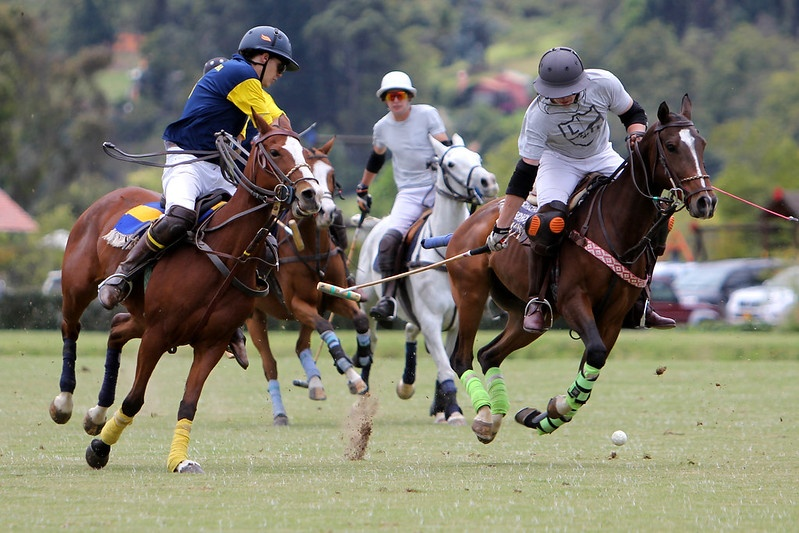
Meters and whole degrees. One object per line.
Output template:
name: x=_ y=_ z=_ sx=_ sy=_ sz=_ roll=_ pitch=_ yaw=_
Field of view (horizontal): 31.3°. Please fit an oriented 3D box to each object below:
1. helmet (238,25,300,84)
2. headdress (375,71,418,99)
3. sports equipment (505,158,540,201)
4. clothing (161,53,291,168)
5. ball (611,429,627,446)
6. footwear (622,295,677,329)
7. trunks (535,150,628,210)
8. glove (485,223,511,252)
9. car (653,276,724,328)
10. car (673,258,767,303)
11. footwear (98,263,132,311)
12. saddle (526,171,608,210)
helmet: x=-1.801 y=-3.121 z=19.958 sx=0.887 sy=0.453 sz=0.704 roll=12 pitch=-2 yaw=6
headdress: x=-0.048 y=-2.866 z=22.641 sx=0.596 sy=0.461 sz=0.692 roll=4 pitch=8 yaw=-2
sports equipment: x=1.734 y=-1.214 z=20.099 sx=0.584 sy=0.500 sz=0.188 roll=15 pitch=4 yaw=-4
clothing: x=-2.328 y=-2.237 z=19.898 sx=1.923 sy=1.483 sz=1.186 roll=-1 pitch=7 yaw=-5
ball: x=3.047 y=2.435 z=19.947 sx=0.232 sy=0.218 sz=0.231 roll=8 pitch=6 yaw=-1
footwear: x=3.456 y=0.718 z=20.075 sx=0.980 sy=0.606 sz=0.331 roll=-1 pitch=-1 yaw=0
trunks: x=2.412 y=-1.241 z=19.911 sx=0.955 sy=0.295 sz=0.929 roll=-37 pitch=53 yaw=-12
glove: x=1.379 y=-0.378 z=20.023 sx=0.396 sy=0.173 sz=0.287 roll=-30 pitch=-19 yaw=29
car: x=7.238 y=1.007 z=37.016 sx=2.617 sy=1.382 sz=1.454 roll=0 pitch=2 yaw=-2
car: x=9.617 y=0.418 z=41.289 sx=2.920 sy=0.995 sz=1.393 roll=4 pitch=-5 yaw=-43
footwear: x=-3.875 y=0.271 z=19.350 sx=0.355 sy=0.390 sz=1.015 roll=31 pitch=12 yaw=-6
saddle: x=2.364 y=-1.070 z=19.888 sx=0.836 sy=0.301 sz=0.593 roll=-5 pitch=1 yaw=2
